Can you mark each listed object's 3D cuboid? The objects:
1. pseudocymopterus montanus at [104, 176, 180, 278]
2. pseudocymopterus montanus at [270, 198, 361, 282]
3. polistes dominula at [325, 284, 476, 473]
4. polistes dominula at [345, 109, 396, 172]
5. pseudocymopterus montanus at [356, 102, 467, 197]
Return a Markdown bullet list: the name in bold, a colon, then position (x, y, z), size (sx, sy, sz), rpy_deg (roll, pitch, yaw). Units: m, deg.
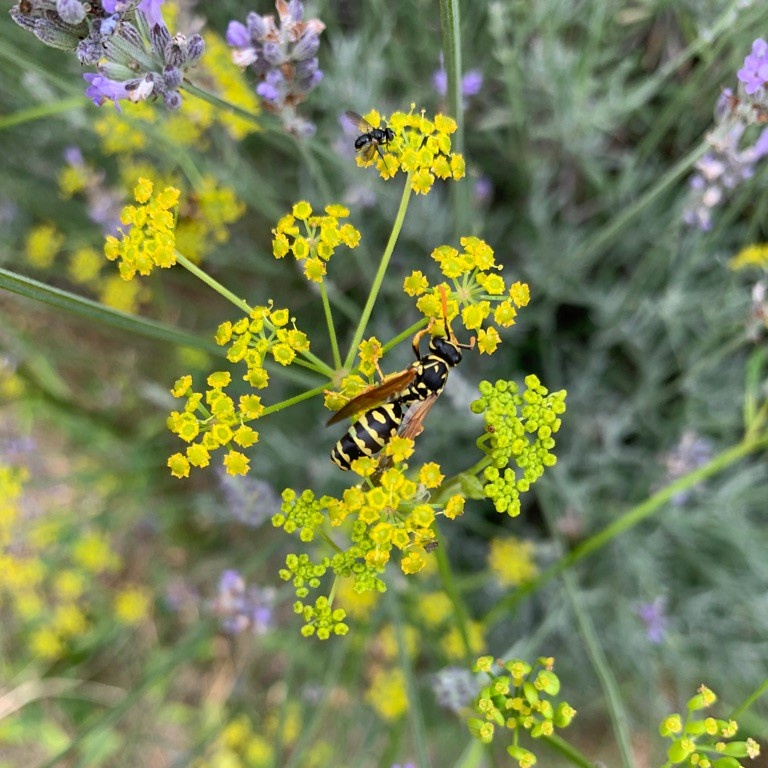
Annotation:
- **pseudocymopterus montanus**: position (-0.513, -0.297, 1.849), size (0.177, 0.289, 0.151), rpy_deg (-7, 56, -4)
- **pseudocymopterus montanus**: position (-0.151, -0.282, 1.885), size (0.177, 0.240, 0.175), rpy_deg (-2, 32, 2)
- **polistes dominula**: position (0.035, -0.003, 1.865), size (0.425, 0.289, 0.129), rpy_deg (-45, 52, -15)
- **polistes dominula**: position (-0.035, -0.561, 1.898), size (0.157, 0.046, 0.140), rpy_deg (-9, 87, -13)
- **pseudocymopterus montanus**: position (0.071, -0.504, 1.838), size (0.275, 0.152, 0.198), rpy_deg (12, 93, 10)
